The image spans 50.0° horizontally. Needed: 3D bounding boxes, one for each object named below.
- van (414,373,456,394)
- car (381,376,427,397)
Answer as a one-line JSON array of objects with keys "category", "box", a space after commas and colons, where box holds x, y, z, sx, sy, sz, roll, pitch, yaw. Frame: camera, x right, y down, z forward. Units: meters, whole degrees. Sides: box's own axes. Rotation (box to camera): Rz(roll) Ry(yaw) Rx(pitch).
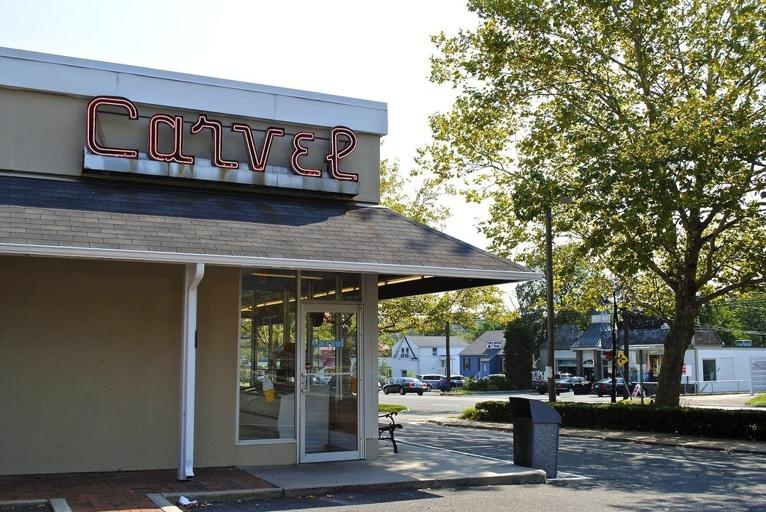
[{"category": "van", "box": [4.779, 11.453, 71.993, 3.103, 1.477, 1.903, -4, -6, 7]}, {"category": "car", "box": [1.683, 9.929, 61.887, 2.964, 0.964, 1.347, -5, -9, 44]}]
